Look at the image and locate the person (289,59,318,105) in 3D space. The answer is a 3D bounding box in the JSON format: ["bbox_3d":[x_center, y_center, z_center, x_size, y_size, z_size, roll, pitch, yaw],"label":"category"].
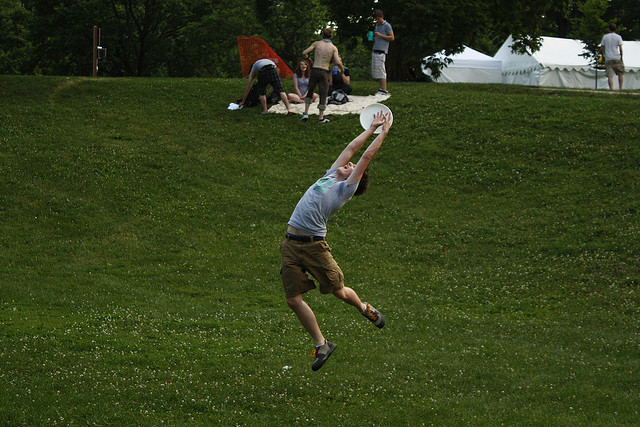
[{"bbox_3d":[-0.848,-6.141,63.191,1.449,1.862,1.192,-6,20,-22],"label":"person"}]

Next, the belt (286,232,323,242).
[{"bbox_3d":[-0.549,0.898,50.587,1.321,0.234,0.085,1,9,3],"label":"belt"}]

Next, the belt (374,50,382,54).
[{"bbox_3d":[2.648,-7.312,62.117,0.314,0.109,0.078,1,9,3],"label":"belt"}]
